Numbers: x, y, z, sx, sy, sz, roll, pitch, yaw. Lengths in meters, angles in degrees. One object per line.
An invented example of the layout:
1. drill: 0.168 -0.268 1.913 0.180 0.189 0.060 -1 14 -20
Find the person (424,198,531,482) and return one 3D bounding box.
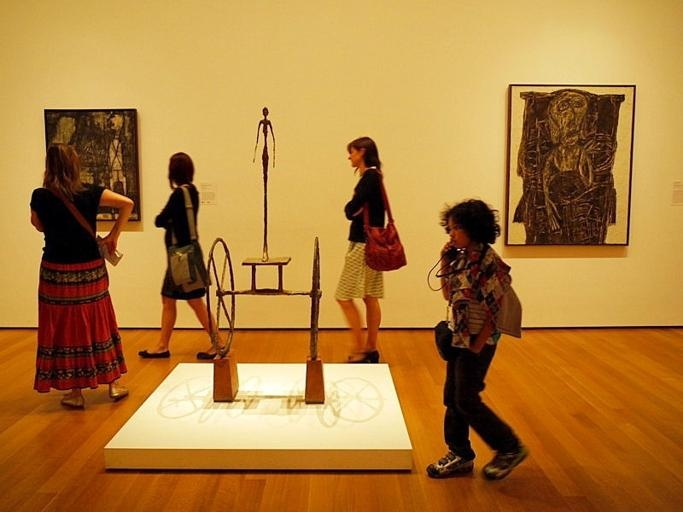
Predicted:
1. person: 0.926 0.544 3.539 0.634 1.806 0.507 3 13 14

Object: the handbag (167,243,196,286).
1. handbag: -1.457 0.060 4.895 0.326 0.466 0.181 -2 -3 4

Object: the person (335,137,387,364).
1. person: 0.193 -0.038 5.124 0.462 2.148 0.670 2 13 8

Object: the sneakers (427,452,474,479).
1. sneakers: 0.731 1.392 3.614 0.335 0.174 0.127 1 -2 -11

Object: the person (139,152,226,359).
1. person: -1.533 0.034 5.106 0.682 1.988 0.457 7 14 28

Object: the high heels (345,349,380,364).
1. high heels: 0.198 0.938 5.113 0.311 0.143 0.121 2 -1 -3

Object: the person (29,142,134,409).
1. person: -2.090 0.079 4.223 0.752 1.888 0.418 -6 14 -24

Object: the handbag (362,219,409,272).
1. handbag: 0.384 -0.115 5.017 0.438 0.681 0.301 -4 -7 -3

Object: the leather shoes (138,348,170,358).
1. leather shoes: -1.848 0.966 5.285 0.288 0.099 0.111 6 -4 -5
